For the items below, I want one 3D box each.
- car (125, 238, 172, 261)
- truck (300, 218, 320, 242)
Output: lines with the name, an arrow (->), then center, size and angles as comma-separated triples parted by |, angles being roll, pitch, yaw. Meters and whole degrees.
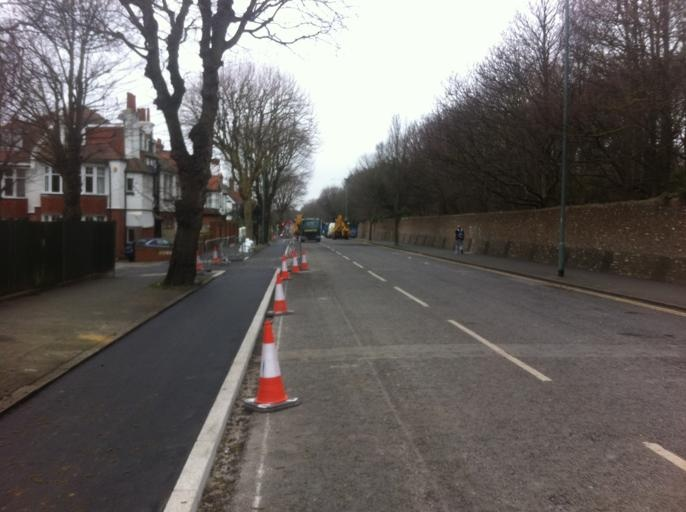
car -> -11.268, -0.329, 33.683 | 1.651, 1.120, 3.170 | 1, 0, 4
truck -> -4.216, -3.378, 72.499 | 2.576, 2.764, 3.021 | -1, 6, -6
